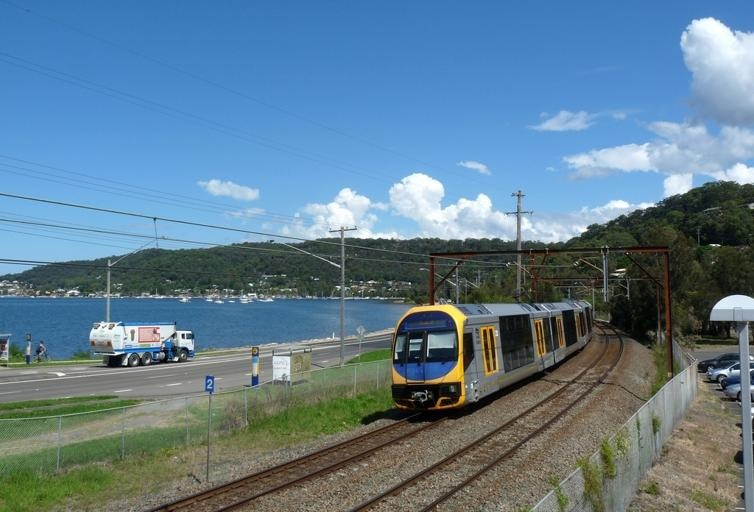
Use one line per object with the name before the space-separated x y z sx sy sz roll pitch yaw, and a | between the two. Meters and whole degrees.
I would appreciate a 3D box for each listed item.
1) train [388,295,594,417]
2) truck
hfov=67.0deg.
train | 9.498 5.641 36.646 3.890 5.217 29.077 -5 -8 30
truck | -19.485 7.285 48.976 3.594 3.564 9.244 0 -1 42
